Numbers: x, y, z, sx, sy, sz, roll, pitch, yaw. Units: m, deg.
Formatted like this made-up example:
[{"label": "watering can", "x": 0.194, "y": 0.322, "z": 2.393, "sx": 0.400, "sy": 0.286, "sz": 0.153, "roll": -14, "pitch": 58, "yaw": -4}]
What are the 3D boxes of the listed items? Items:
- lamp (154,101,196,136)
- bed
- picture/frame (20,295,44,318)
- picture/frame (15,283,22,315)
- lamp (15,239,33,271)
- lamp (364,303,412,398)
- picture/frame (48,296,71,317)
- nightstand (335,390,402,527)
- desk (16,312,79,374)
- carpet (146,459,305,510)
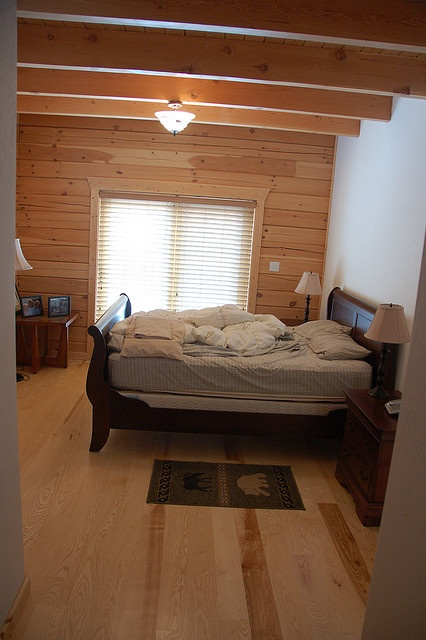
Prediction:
[{"label": "lamp", "x": -0.318, "y": -1.587, "z": 3.509, "sx": 0.322, "sy": 0.290, "sz": 0.330, "roll": 0, "pitch": 6, "yaw": -3}, {"label": "bed", "x": -0.019, "y": 0.483, "z": 3.258, "sx": 1.323, "sy": 0.642, "sz": 1.298, "roll": 1, "pitch": 23, "yaw": 0}, {"label": "picture/frame", "x": -1.971, "y": -0.139, "z": 4.702, "sx": 0.022, "sy": 0.200, "sz": 0.207, "roll": -7, "pitch": 4, "yaw": 36}, {"label": "picture/frame", "x": -2.074, "y": -0.177, "z": 4.622, "sx": 0.042, "sy": 0.224, "sz": 0.361, "roll": 1, "pitch": 8, "yaw": -23}, {"label": "lamp", "x": -1.965, "y": -0.656, "z": 4.484, "sx": 0.147, "sy": 0.367, "sz": 0.767, "roll": 1, "pitch": 8, "yaw": -23}, {"label": "lamp", "x": 1.093, "y": 0.195, "z": 2.722, "sx": 0.242, "sy": 0.597, "sz": 0.407, "roll": 7, "pitch": 8, "yaw": 25}, {"label": "picture/frame", "x": -1.718, "y": -0.145, "z": 4.820, "sx": 0.042, "sy": 0.192, "sz": 0.211, "roll": 10, "pitch": 12, "yaw": 39}, {"label": "nightstand", "x": 1.011, "y": 0.826, "z": 2.626, "sx": 0.348, "sy": 0.547, "sz": 0.545, "roll": 6, "pitch": 11, "yaw": -7}, {"label": "desk", "x": -1.849, "y": 0.176, "z": 4.789, "sx": 0.630, "sy": 0.544, "sz": 0.648, "roll": 3, "pitch": 23, "yaw": 3}, {"label": "carpet", "x": 0.070, "y": 1.034, "z": 2.758, "sx": 0.949, "sy": 0.021, "sz": 0.542, "roll": 4, "pitch": 7, "yaw": -2}]
